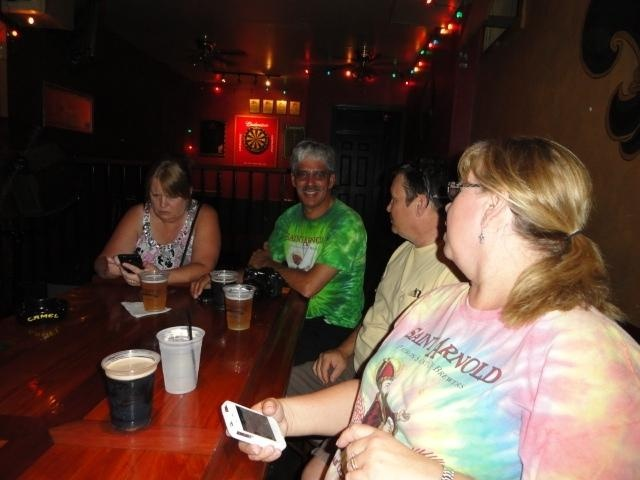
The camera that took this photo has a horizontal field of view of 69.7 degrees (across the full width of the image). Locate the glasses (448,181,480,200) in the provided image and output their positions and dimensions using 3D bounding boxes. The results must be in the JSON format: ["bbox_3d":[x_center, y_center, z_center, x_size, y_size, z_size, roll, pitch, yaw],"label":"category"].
[{"bbox_3d":[0.464,-0.162,1.513,0.064,0.030,0.054,6,22,9],"label":"glasses"}]

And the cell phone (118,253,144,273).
[{"bbox_3d":[-0.961,0.114,2.335,0.081,0.021,0.084,11,38,-23],"label":"cell phone"}]

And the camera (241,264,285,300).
[{"bbox_3d":[-0.293,0.189,2.375,0.175,0.130,0.146,6,13,1],"label":"camera"}]

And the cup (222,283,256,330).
[{"bbox_3d":[-0.327,0.271,1.970,0.167,0.203,0.163,2,5,0],"label":"cup"}]

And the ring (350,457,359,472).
[{"bbox_3d":[0.095,0.645,1.320,0.018,0.041,0.030,-22,-9,21],"label":"ring"}]

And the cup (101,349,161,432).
[{"bbox_3d":[-0.582,0.458,1.431,0.172,0.193,0.155,16,17,41],"label":"cup"}]

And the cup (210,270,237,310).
[{"bbox_3d":[-0.468,0.233,2.173,0.149,0.173,0.155,2,1,0],"label":"cup"}]
